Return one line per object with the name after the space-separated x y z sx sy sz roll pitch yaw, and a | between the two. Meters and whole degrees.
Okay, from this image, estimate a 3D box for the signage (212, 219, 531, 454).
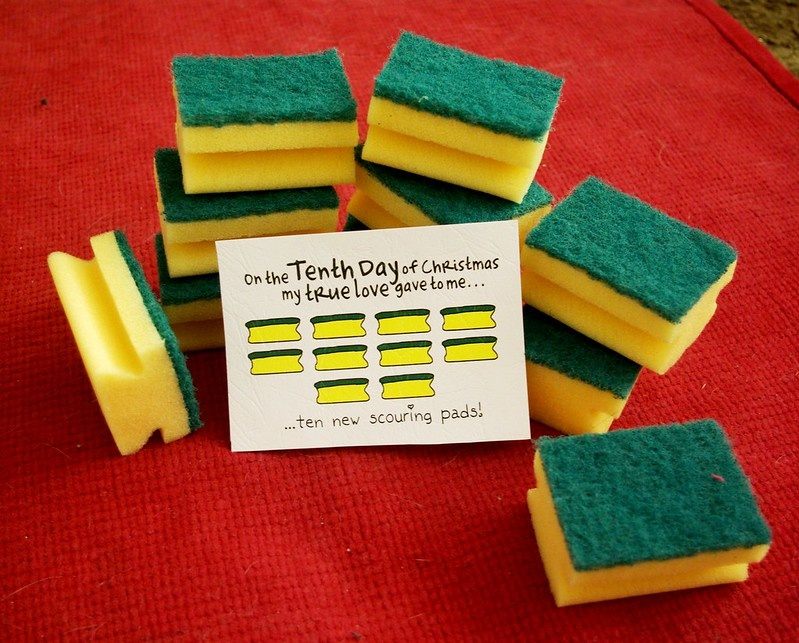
-0.042 0.023 0.980 0.472 0.009 0.280 -5 87 29 | signage

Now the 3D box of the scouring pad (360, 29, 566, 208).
0.086 -0.285 1.038 0.238 0.114 0.206 14 53 3 | scouring pad

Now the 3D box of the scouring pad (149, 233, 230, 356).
-0.277 -0.037 0.998 0.110 0.113 0.159 -7 63 -1 | scouring pad

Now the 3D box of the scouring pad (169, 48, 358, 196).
-0.183 -0.270 1.010 0.223 0.110 0.185 -5 54 -12 | scouring pad

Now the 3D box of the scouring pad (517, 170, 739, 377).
0.294 -0.066 0.988 0.244 0.095 0.195 33 56 17 | scouring pad

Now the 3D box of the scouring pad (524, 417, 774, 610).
0.282 0.219 0.885 0.235 0.099 0.179 -4 54 -11 | scouring pad

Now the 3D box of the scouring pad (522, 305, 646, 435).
0.222 0.075 1.014 0.165 0.094 0.146 28 64 6 | scouring pad
